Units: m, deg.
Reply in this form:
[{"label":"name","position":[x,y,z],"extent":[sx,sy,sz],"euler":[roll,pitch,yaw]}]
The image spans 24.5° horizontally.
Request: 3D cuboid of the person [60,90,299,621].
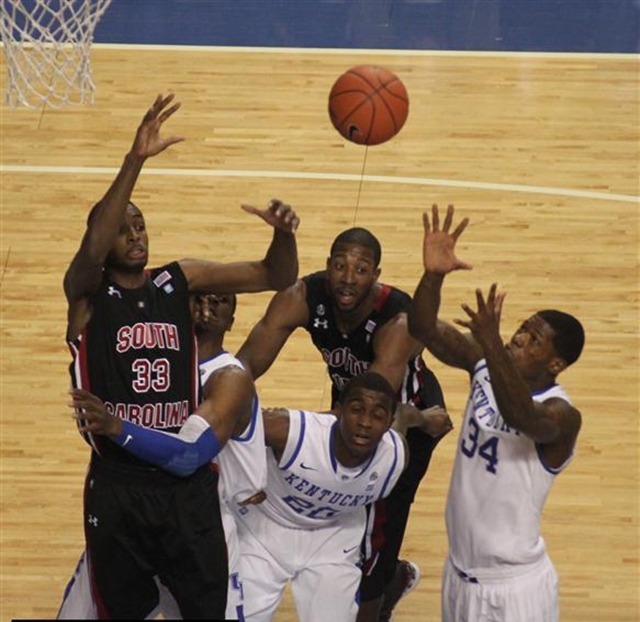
[{"label":"person","position":[-0.815,0.290,7.751],"extent":[1.058,2.677,1.104],"euler":[3,23,-10]}]
